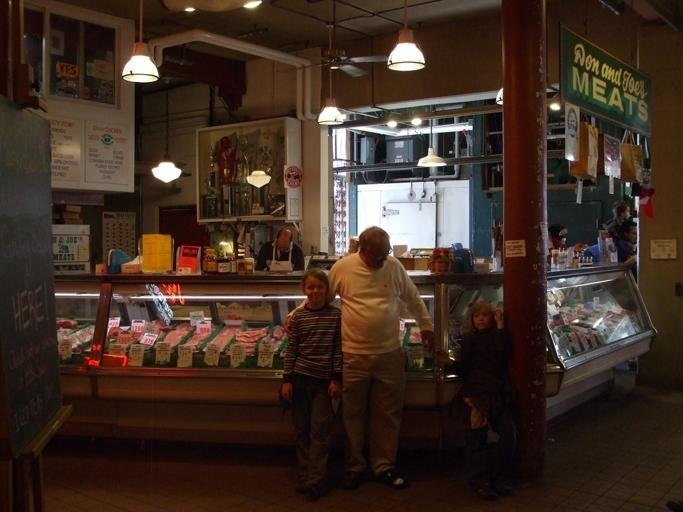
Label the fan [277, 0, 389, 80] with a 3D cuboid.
[{"bbox_3d":[0.010,-2.587,7.527,1.305,1.211,1.260,-2,2,-4],"label":"fan"}]

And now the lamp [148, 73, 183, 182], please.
[{"bbox_3d":[-2.994,-2.210,10.012,0.553,2.002,3.916,-1,3,-17],"label":"lamp"}]

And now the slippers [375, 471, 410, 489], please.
[{"bbox_3d":[0.368,1.605,4.215,0.098,0.111,0.269,0,-2,-39],"label":"slippers"}]

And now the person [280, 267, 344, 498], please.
[{"bbox_3d":[-0.222,0.875,4.250,0.411,1.551,0.435,1,3,34],"label":"person"}]

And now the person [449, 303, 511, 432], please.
[{"bbox_3d":[1.041,0.791,4.309,0.389,0.863,0.357,-2,3,-32],"label":"person"}]
